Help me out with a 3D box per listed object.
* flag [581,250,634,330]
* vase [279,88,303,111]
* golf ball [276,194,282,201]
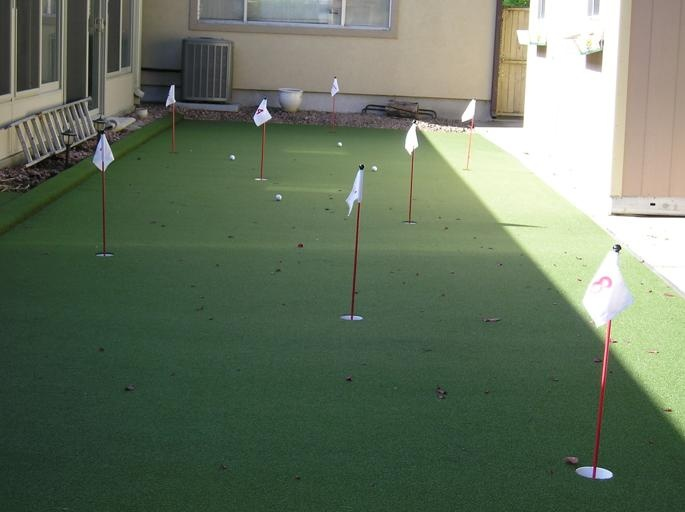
[{"bbox_3d":[1.531,0.210,3.769,0.223,0.445,0.246,-40,54,-20],"label":"flag"},{"bbox_3d":[-1.093,-3.294,13.677,0.433,0.360,0.453,-2,9,-16],"label":"vase"},{"bbox_3d":[-0.736,-0.674,7.398,0.070,0.077,0.075,0,16,0],"label":"golf ball"}]
